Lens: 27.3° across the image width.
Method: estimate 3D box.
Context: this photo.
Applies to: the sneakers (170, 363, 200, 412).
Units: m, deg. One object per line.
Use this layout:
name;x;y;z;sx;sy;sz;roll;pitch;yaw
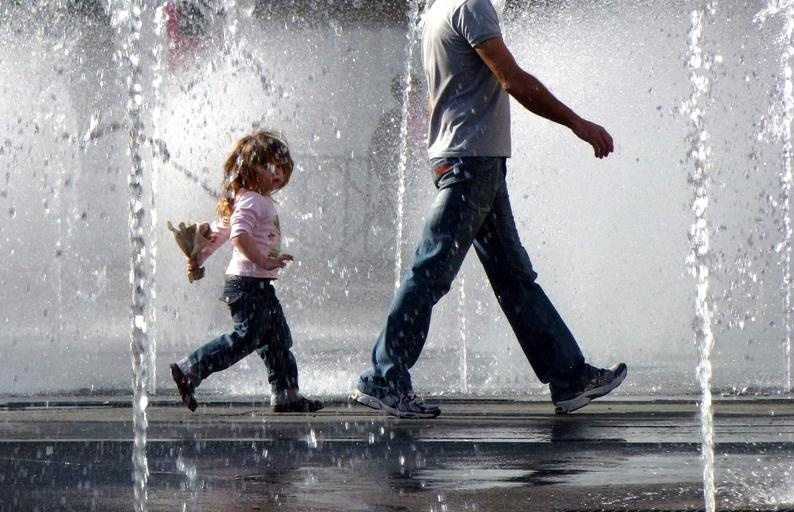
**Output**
sneakers;-1.312;0.810;10.229;0.145;0.341;0.116;-15;8;18
